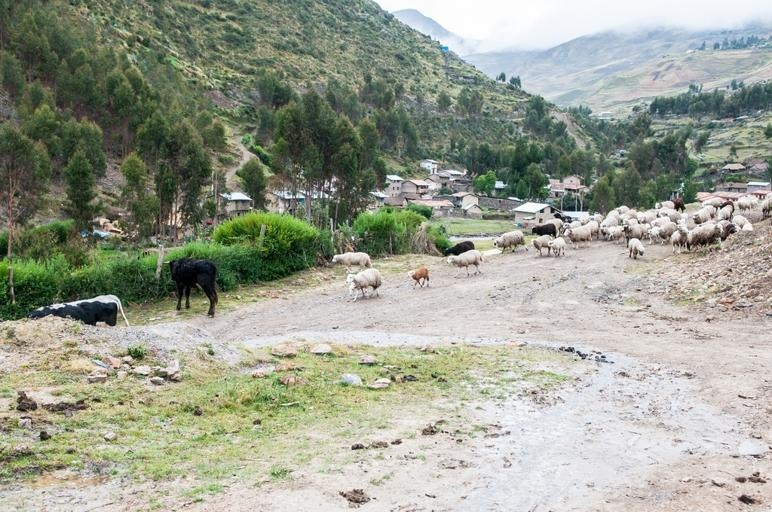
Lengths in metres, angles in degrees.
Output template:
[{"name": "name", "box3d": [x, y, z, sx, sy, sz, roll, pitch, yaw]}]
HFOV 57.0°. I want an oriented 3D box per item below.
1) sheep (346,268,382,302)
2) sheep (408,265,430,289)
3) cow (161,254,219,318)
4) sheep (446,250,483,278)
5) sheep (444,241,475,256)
[{"name": "sheep", "box3d": [-1.079, 1.443, 38.351, 1.600, 1.523, 2.481, -9, 2, 4]}, {"name": "sheep", "box3d": [1.995, 1.185, 40.118, 0.864, 0.996, 1.441, -8, 2, 28]}, {"name": "cow", "box3d": [-9.795, 1.397, 35.946, 3.736, 2.788, 1.153, 5, 4, 33]}, {"name": "sheep", "box3d": [4.975, 0.384, 43.533, 1.800, 1.330, 2.736, -9, 2, 10]}, {"name": "sheep", "box3d": [5.082, -0.576, 49.032, 1.896, 0.586, 0.981, -14, -24, 15]}]
